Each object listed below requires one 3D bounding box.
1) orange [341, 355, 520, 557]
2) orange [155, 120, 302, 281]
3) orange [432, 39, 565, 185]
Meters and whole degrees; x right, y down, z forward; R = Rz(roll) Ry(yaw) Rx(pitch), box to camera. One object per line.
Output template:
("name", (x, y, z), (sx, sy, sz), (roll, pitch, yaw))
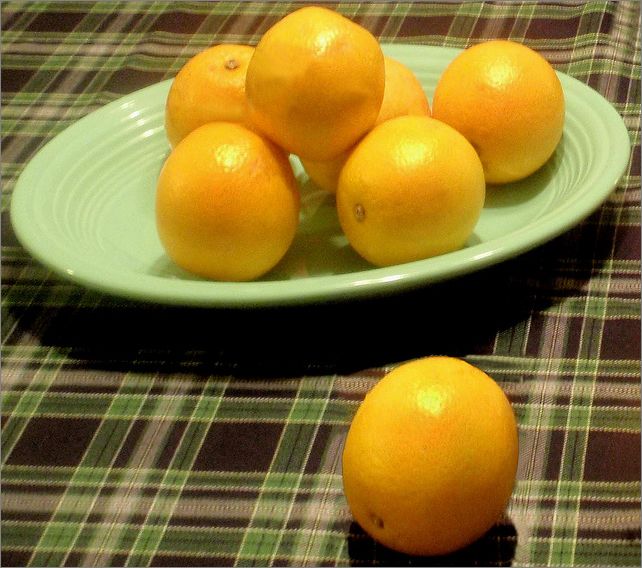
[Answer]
("orange", (0.077, 0.113, 0.495), (0.096, 0.097, 0.123), (38, 58, 26))
("orange", (-0.079, -0.067, 0.639), (0.116, 0.133, 0.140), (-20, 86, 16))
("orange", (0.184, -0.173, 0.708), (0.114, 0.149, 0.119), (-11, 19, -16))
